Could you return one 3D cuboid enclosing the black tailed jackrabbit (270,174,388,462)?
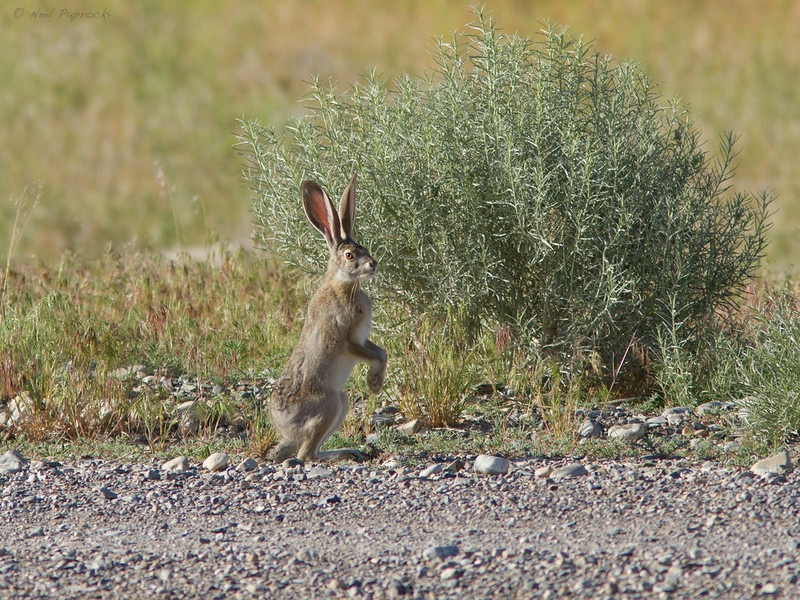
[{"bbox_3d":[-0.480,0.147,8.694,0.809,2.049,0.381,5,3,9],"label":"black tailed jackrabbit"}]
